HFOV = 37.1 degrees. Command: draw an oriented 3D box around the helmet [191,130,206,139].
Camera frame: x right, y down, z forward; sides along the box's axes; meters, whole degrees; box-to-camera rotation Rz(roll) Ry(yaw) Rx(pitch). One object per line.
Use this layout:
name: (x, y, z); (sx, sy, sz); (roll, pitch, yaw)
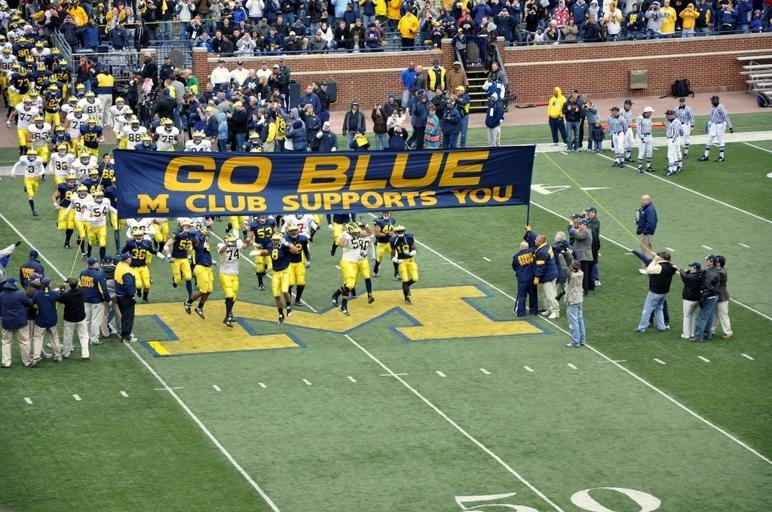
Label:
helmet: (-5.165, -3.361, 31.772); (0.390, 0.159, 0.499); (-2, 5, -8)

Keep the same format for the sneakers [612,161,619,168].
sneakers: (7.422, -2.939, 36.854); (0.192, 0.159, 0.467); (-3, 12, -10)

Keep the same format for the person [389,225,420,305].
person: (0.462, 0.188, 27.643); (0.599, 1.884, 0.686); (-3, 14, 0)

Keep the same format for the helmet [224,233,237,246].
helmet: (-3.556, -0.378, 26.149); (0.330, 0.227, 0.241); (10, 29, 31)

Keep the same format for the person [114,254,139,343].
person: (-5.764, 0.922, 25.472); (0.421, 1.977, 0.779); (-6, 14, -13)

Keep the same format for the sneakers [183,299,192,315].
sneakers: (-4.537, 1.195, 26.748); (0.149, 0.352, 0.184); (-13, -9, -43)

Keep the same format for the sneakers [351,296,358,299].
sneakers: (-0.755, 1.007, 28.089); (0.154, 0.084, 0.079); (-9, 6, 28)

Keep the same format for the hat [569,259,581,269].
hat: (4.228, 0.166, 25.407); (0.176, 0.137, 0.177); (-10, 50, -17)

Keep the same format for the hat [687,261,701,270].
hat: (6.980, 0.229, 25.686); (0.366, 0.158, 0.203); (4, 52, 2)

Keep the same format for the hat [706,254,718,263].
hat: (7.332, 0.075, 25.710); (0.213, 0.163, 0.377); (-1, 12, 4)

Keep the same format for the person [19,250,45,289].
person: (-7.673, 0.337, 25.151); (0.660, 0.853, 0.479); (7, 16, 20)

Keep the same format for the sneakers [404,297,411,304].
sneakers: (0.578, 1.061, 27.611); (0.205, 0.155, 0.099); (4, 36, 8)

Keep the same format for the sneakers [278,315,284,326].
sneakers: (-2.383, 1.438, 26.560); (0.132, 0.252, 0.357); (-3, 12, -2)

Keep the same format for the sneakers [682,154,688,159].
sneakers: (9.940, -3.253, 37.784); (0.096, 0.098, 0.288); (4, 7, 41)

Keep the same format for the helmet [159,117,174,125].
helmet: (-6.356, -3.908, 33.425); (0.404, 0.148, 0.510); (-3, 9, -21)

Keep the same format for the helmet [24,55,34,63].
helmet: (-12.003, -6.624, 38.687); (0.316, 0.125, 0.388); (-4, 30, -17)

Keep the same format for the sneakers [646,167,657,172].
sneakers: (8.458, -2.767, 36.433); (0.351, 0.189, 0.109); (-13, 32, -21)

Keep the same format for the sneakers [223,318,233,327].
sneakers: (-3.558, 1.495, 26.305); (0.232, 0.094, 0.284); (-16, -30, 18)

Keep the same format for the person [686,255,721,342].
person: (7.276, 0.958, 25.774); (0.510, 1.921, 0.610); (8, 17, 36)

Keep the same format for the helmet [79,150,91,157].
helmet: (-8.273, -2.830, 31.544); (0.389, 0.130, 0.475); (-2, 5, -8)

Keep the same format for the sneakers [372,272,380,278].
sneakers: (-0.233, 0.476, 29.310); (0.150, 0.098, 0.270); (-1, -4, -2)

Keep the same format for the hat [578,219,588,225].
hat: (4.855, -0.838, 28.029); (0.197, 0.176, 0.136); (-9, 51, 29)

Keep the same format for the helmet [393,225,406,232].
helmet: (0.353, -0.637, 27.435); (0.176, 0.157, 0.201); (-7, -17, -26)

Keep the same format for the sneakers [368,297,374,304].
sneakers: (-0.305, 1.067, 27.678); (0.132, 0.144, 0.155); (-3, -22, -34)

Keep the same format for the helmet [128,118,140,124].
helmet: (-7.347, -3.946, 33.500); (0.398, 0.162, 0.480); (-4, 12, -15)

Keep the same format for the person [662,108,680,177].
person: (9.018, -3.519, 35.766); (0.465, 2.038, 0.867); (1, 14, 14)

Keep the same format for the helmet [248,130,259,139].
helmet: (-3.826, -3.582, 33.591); (0.413, 0.166, 0.540); (-2, 7, -13)

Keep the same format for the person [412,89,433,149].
person: (1.246, -4.325, 36.771); (0.737, 1.909, 0.805); (16, 22, 40)

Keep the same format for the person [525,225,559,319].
person: (3.717, 0.392, 26.791); (0.676, 2.195, 0.797); (2, 14, 17)

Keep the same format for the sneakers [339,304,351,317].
sneakers: (-0.991, 1.282, 27.064); (0.390, 0.234, 0.136); (24, 40, 29)

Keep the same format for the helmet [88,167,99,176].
helmet: (-7.533, -2.205, 29.860); (0.282, 0.249, 0.336); (-4, -2, -28)

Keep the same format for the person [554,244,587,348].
person: (4.300, 0.984, 25.871); (0.466, 1.924, 1.217); (0, 13, 10)

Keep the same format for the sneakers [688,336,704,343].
sneakers: (7.020, 1.880, 25.878); (0.335, 0.110, 0.102); (8, 18, 3)

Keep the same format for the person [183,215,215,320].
person: (-4.361, 0.418, 26.815); (0.710, 2.001, 1.280); (-5, 13, -8)

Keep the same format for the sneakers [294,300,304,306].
sneakers: (-2.061, 1.119, 27.540); (0.206, 0.076, 0.096); (3, 8, 44)

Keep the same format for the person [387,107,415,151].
person: (0.437, -3.831, 35.054); (0.554, 1.218, 0.406); (-6, 11, 6)

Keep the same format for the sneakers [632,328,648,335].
sneakers: (5.868, 1.723, 26.300); (0.302, 0.083, 0.115); (-3, -19, 2)

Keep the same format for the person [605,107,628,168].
person: (7.463, -3.789, 36.628); (0.518, 1.883, 0.711); (0, 14, 11)

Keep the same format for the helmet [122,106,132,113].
helmet: (-7.656, -4.386, 34.209); (0.318, 0.128, 0.411); (8, -1, -22)

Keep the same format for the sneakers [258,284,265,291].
sneakers: (-3.073, 0.777, 28.480); (0.178, 0.115, 0.322); (-1, -1, -15)

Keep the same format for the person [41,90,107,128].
person: (-9.889, -4.618, 35.645); (2.090, 0.702, 1.464); (3, 10, 44)

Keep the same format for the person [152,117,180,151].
person: (-6.374, -3.520, 33.363); (0.637, 0.917, 0.922); (-5, 13, -11)

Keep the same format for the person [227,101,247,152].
person: (-4.521, -4.024, 35.340); (0.604, 1.517, 0.869); (-4, 13, -7)

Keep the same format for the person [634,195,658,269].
person: (6.711, -0.546, 29.497); (0.796, 2.181, 0.851); (-4, 54, 7)

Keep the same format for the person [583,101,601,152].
person: (6.969, -4.328, 38.247); (0.582, 1.690, 1.317); (0, 13, 11)

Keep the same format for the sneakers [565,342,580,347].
sneakers: (4.201, 1.970, 25.582); (0.268, 0.086, 0.105); (1, 13, 8)

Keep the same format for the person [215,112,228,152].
person: (-4.987, -3.836, 35.213); (0.391, 1.156, 1.028); (-4, 13, -8)

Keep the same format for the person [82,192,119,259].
person: (-7.263, -0.816, 29.196); (0.762, 1.756, 1.019); (-6, 14, -14)

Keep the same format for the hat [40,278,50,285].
hat: (-7.118, 0.536, 24.066); (0.130, 0.138, 0.275); (-2, 12, -1)

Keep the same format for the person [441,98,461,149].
person: (2.127, -4.260, 36.814); (0.639, 1.611, 1.327); (-2, 13, 3)

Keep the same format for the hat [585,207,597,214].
hat: (5.154, -1.119, 28.389); (0.310, 0.122, 0.170); (6, 8, -9)

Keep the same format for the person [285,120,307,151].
person: (-2.686, -3.705, 34.827); (0.654, 0.934, 0.522); (-3, 13, -4)

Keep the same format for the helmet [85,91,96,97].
helmet: (-9.078, -5.000, 35.409); (0.405, 0.170, 0.504); (-4, 10, -17)

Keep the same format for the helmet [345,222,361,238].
helmet: (-0.746, -0.615, 26.988); (0.363, 0.286, 0.281); (7, 26, 39)

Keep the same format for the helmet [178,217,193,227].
helmet: (-4.697, -0.812, 27.052); (0.292, 0.110, 0.358); (-1, 6, -9)

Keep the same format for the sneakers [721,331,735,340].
sneakers: (7.746, 1.785, 25.973); (0.296, 0.181, 0.094); (-14, 28, 33)
